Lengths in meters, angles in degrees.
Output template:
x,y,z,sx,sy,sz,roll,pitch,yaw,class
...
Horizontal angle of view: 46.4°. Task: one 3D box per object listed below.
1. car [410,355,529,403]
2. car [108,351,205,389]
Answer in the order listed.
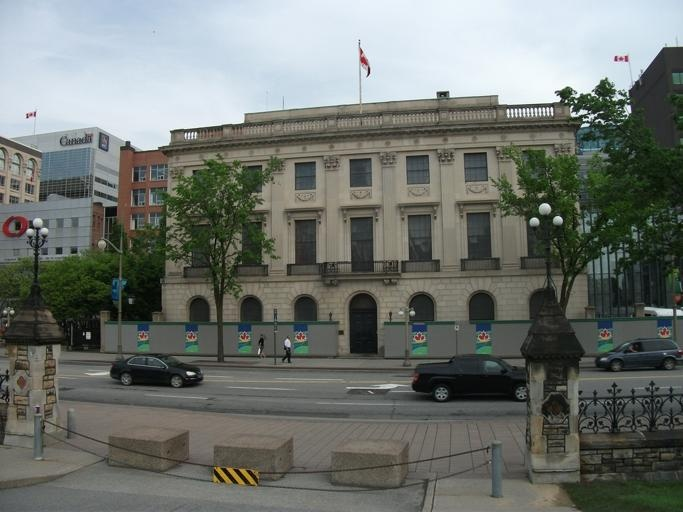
x,y,z,sx,sy,sz,roll,pitch,yaw,class
5.914,5.648,36.657,4.845,1.958,0.893,0,7,7,car
-9.716,6.026,41.658,4.502,1.577,1.288,0,6,7,car
